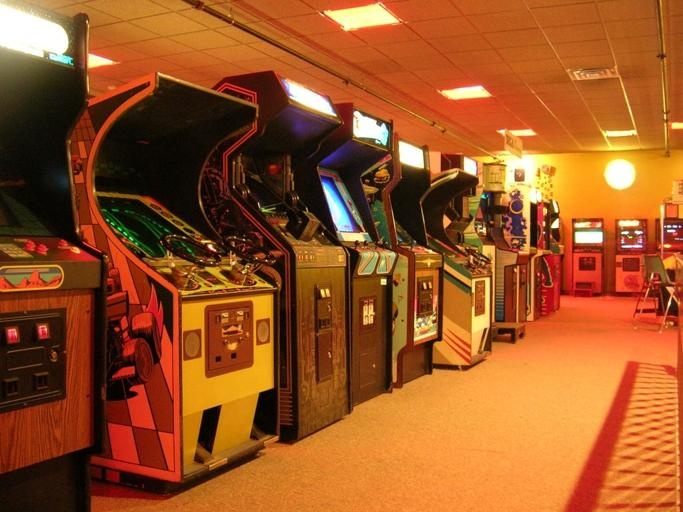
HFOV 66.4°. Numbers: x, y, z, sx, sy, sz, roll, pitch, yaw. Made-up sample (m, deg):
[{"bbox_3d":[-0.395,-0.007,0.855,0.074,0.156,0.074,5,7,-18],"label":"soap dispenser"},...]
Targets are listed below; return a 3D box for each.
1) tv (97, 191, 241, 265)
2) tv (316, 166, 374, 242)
[{"bbox_3d":[-1.055,-0.144,3.025,0.611,0.204,0.445,30,15,13],"label":"tv"},{"bbox_3d":[0.019,-0.424,4.373,0.338,0.628,0.553,1,2,30],"label":"tv"}]
